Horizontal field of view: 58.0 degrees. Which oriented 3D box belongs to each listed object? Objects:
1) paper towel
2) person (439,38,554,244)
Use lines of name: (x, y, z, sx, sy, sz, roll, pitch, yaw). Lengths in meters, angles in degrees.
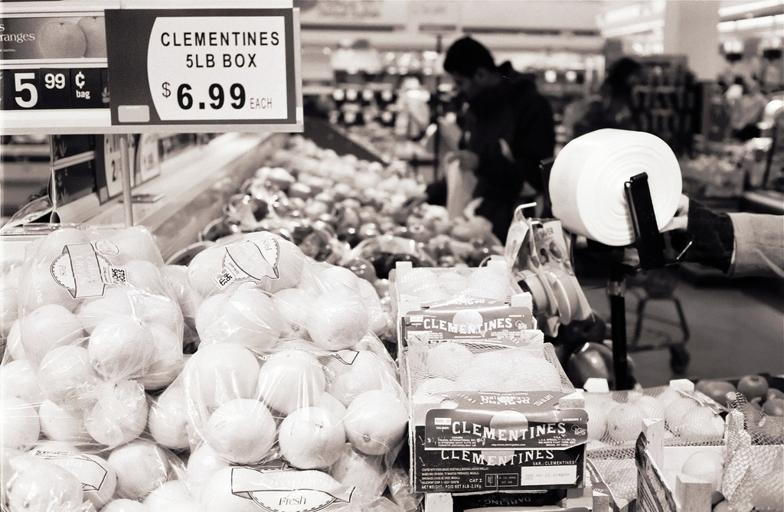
paper towel: (0.722, -0.238, 2.284, 0.371, 0.372, 0.216, -2, 17, -13)
person: (0.568, -0.589, 3.731, 0.572, 1.072, 0.644, 0, 12, 13)
